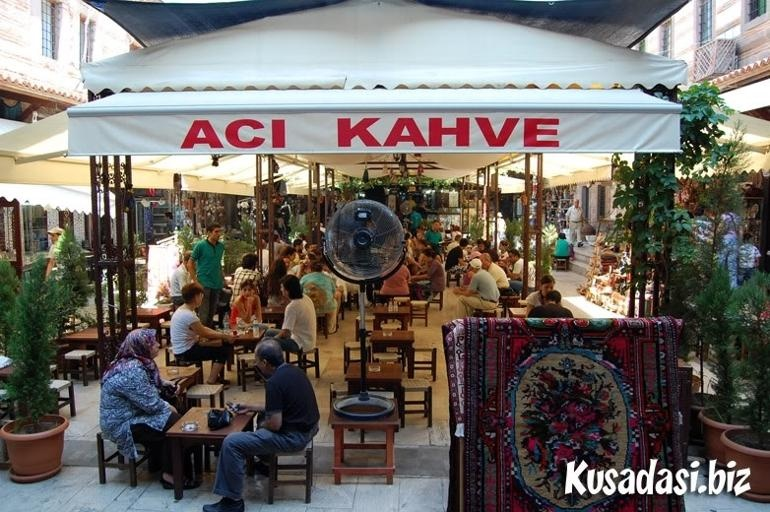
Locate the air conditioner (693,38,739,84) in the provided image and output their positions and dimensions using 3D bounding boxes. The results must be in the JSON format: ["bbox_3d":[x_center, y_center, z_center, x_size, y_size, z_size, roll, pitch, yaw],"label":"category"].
[{"bbox_3d":[10.452,-6.233,20.628,0.851,1.433,1.758,1,2,-6],"label":"air conditioner"}]

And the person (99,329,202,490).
[{"bbox_3d":[-2.987,1.777,8.302,1.072,2.116,1.069,0,2,12],"label":"person"}]
